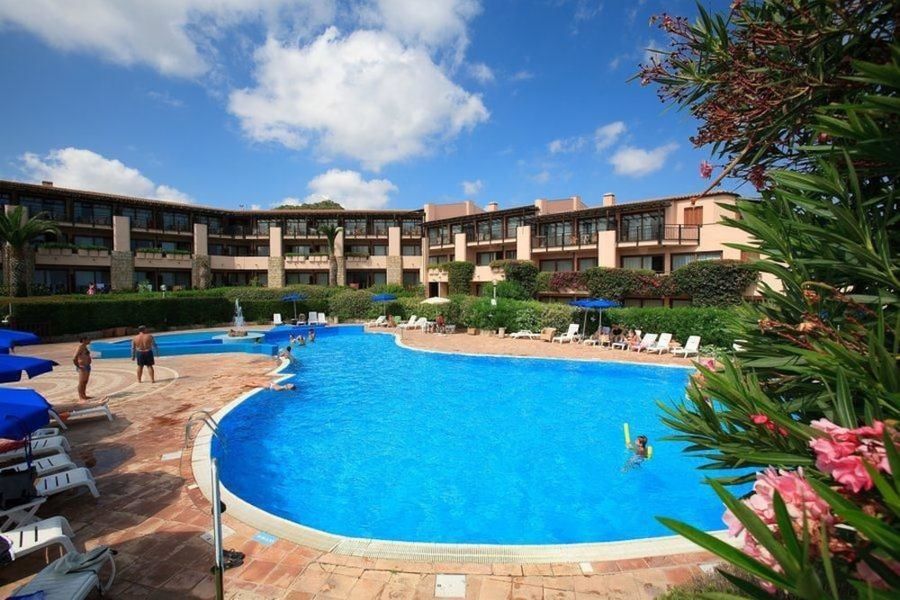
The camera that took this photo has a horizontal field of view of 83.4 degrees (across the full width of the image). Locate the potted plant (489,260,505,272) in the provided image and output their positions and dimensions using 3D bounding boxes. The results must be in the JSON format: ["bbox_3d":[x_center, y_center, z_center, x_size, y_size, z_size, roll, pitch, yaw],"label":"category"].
[{"bbox_3d":[3.791,-2.652,40.429,1.091,0.672,1.004,1,-2,-4],"label":"potted plant"}]

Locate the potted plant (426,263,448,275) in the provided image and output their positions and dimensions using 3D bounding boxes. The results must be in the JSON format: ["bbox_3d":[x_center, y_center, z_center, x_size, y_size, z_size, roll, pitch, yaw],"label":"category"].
[{"bbox_3d":[-1.160,-2.848,46.375,0.850,1.090,3.912,-4,8,-19],"label":"potted plant"}]

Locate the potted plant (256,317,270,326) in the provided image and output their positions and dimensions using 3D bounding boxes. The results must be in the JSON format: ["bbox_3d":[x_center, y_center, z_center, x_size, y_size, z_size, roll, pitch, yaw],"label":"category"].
[{"bbox_3d":[-14.887,1.691,40.122,0.735,0.422,0.711,-3,-4,28],"label":"potted plant"}]

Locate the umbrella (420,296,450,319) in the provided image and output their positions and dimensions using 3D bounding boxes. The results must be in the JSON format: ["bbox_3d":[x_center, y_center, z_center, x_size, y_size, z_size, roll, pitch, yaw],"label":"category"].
[{"bbox_3d":[-1.118,0.633,37.123,2.166,1.252,2.000,-1,1,-8],"label":"umbrella"}]

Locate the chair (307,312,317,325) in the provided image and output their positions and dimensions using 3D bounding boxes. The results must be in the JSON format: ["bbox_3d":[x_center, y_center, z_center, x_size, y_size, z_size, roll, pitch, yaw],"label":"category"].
[{"bbox_3d":[-10.925,1.455,40.090,0.818,0.702,1.132,0,2,-22],"label":"chair"}]

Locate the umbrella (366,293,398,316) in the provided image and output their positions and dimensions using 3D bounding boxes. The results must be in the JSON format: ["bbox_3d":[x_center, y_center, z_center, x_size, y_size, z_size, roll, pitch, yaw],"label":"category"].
[{"bbox_3d":[-5.452,0.453,41.359,2.176,1.664,1.267,6,11,43],"label":"umbrella"}]

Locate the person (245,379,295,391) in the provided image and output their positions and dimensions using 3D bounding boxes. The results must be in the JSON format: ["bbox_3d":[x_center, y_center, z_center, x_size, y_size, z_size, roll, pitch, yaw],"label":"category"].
[{"bbox_3d":[-6.134,2.984,17.037,1.439,0.326,0.516,-1,3,-7],"label":"person"}]

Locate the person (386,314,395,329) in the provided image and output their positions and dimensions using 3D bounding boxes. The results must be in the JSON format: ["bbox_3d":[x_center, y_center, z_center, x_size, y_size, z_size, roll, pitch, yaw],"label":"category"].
[{"bbox_3d":[-4.554,1.732,39.937,0.875,1.380,0.814,1,-6,-13],"label":"person"}]

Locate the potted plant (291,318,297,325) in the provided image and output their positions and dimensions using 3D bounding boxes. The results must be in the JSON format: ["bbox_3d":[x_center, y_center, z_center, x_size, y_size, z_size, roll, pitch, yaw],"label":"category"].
[{"bbox_3d":[-12.142,1.729,39.169,0.378,0.435,0.469,-1,5,-14],"label":"potted plant"}]

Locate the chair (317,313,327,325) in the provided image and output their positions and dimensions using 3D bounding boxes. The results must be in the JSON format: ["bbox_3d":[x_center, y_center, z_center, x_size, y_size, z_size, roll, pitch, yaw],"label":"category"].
[{"bbox_3d":[-10.046,1.508,39.661,0.734,0.653,1.098,0,2,-32],"label":"chair"}]

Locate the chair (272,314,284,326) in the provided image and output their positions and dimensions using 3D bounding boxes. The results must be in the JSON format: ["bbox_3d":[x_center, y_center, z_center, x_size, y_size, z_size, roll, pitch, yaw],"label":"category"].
[{"bbox_3d":[-13.612,1.517,39.728,0.681,0.842,1.101,-4,9,-21],"label":"chair"}]
